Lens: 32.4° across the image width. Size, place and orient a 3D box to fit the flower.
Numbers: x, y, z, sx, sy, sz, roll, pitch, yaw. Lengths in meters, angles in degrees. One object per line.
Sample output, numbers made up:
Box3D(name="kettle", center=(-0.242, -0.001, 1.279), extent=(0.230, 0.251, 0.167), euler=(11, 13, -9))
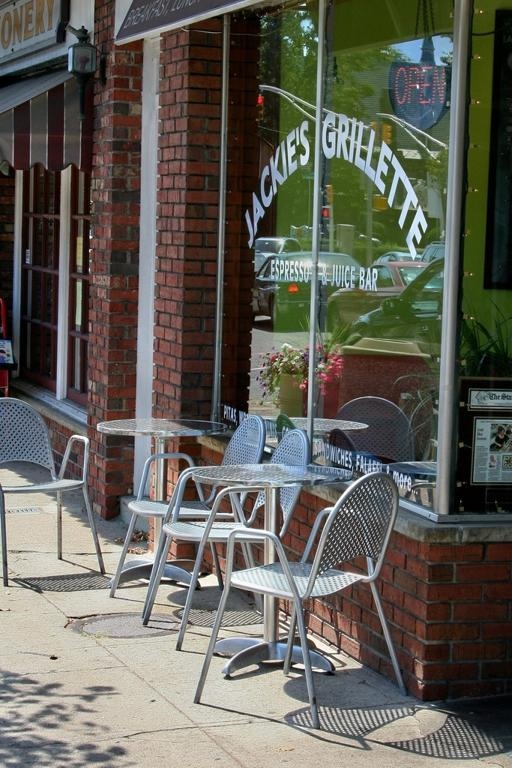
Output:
Box3D(name="flower", center=(0.233, -0.094, 4.244), extent=(0.367, 0.244, 0.317), euler=(1, -2, -37))

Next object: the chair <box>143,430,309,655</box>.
Box3D(name="chair", center=(-0.353, 0.641, 4.535), extent=(0.761, 0.908, 0.686), euler=(-2, 3, -44))

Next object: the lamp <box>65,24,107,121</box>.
Box3D(name="lamp", center=(-1.285, -2.411, 6.690), extent=(0.273, 0.718, 0.400), euler=(3, 0, -14))

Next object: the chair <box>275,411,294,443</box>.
Box3D(name="chair", center=(0.141, 0.226, 4.481), extent=(0.132, 0.130, 0.138), euler=(1, 5, 14))

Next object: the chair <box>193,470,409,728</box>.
Box3D(name="chair", center=(0.198, 0.712, 3.224), extent=(0.717, 0.860, 0.881), euler=(2, -1, 9))

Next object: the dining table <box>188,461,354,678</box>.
Box3D(name="dining table", center=(0.078, 0.839, 3.670), extent=(0.637, 0.785, 0.557), euler=(0, -4, 30))
